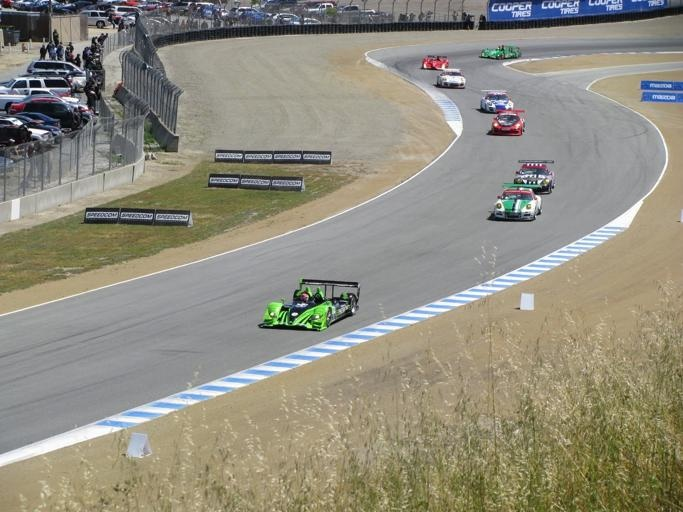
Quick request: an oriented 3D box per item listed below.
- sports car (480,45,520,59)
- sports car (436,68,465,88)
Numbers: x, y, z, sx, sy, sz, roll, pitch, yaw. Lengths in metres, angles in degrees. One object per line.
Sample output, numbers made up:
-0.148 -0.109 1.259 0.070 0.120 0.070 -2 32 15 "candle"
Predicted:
12.653 -16.285 120.050 3.091 0.990 1.830 -10 24 -21 "sports car"
7.629 -12.286 104.849 1.930 1.189 1.474 6 23 17 "sports car"
